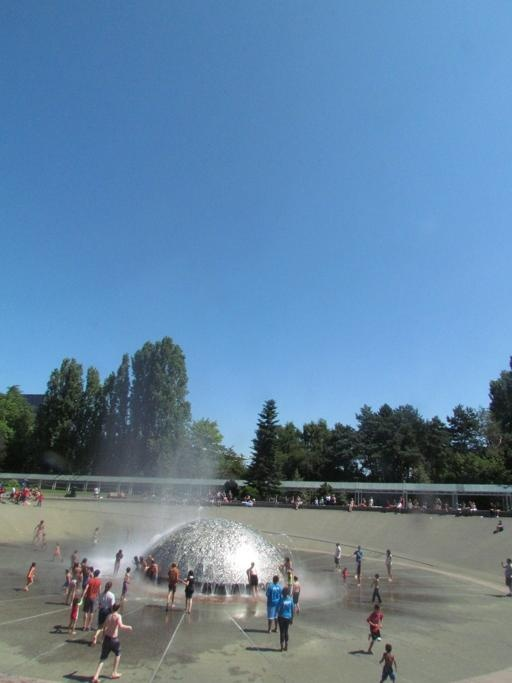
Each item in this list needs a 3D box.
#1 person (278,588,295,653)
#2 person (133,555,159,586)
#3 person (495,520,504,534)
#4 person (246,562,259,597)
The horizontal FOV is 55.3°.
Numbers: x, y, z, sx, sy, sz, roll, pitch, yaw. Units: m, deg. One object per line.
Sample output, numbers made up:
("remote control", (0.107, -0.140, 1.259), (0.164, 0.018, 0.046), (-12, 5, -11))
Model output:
("person", (0.592, 5.729, 10.124), (0.285, 1.176, 0.586), (1, -9, 2))
("person", (-3.920, 8.015, 17.547), (0.408, 0.764, 1.802), (6, -11, -30))
("person", (15.727, 11.965, 31.805), (0.498, 0.740, 1.053), (-5, -12, 34))
("person", (-0.125, 7.614, 15.801), (0.338, 1.102, 0.830), (1, -9, 0))
